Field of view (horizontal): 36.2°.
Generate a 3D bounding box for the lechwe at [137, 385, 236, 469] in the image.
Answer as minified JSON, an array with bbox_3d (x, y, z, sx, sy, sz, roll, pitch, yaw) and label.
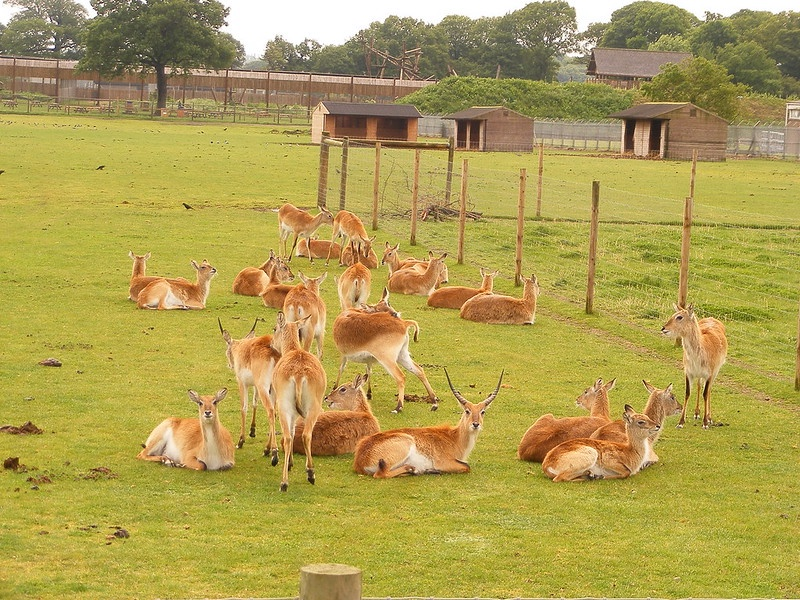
[{"bbox_3d":[-2.457,1.585,14.791,0.794,0.753,1.192,7,-12,-27],"label":"lechwe"}]
